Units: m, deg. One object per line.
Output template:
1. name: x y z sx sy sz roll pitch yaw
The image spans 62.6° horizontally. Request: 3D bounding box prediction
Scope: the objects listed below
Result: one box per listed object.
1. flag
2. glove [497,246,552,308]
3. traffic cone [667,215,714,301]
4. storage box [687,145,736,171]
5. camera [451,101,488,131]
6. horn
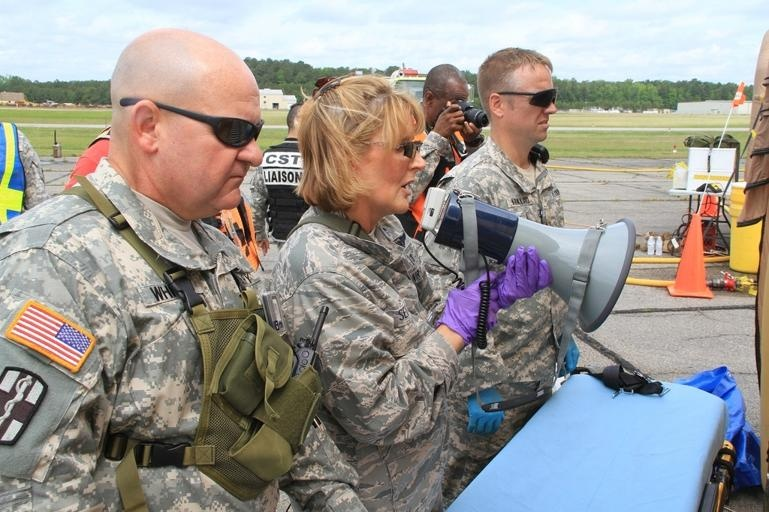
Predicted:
1. flag: -0.966 0.225 1.825 0.240 0.161 0.068 32 -19 -19
2. glove: 0.608 0.087 2.813 0.170 0.291 0.217 -1 0 -2
3. traffic cone: 3.640 -0.001 7.533 0.541 0.969 0.536 2 8 21
4. storage box: 5.182 -1.516 10.064 0.502 0.306 0.510 3 6 26
5. camera: 0.666 -1.081 4.829 0.250 0.156 0.268 31 4 -29
6. horn: 0.564 -0.064 2.901 0.895 0.861 0.592 -7 13 -30
